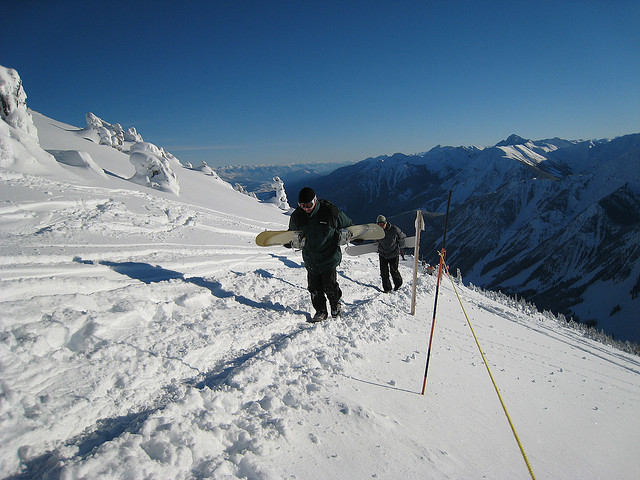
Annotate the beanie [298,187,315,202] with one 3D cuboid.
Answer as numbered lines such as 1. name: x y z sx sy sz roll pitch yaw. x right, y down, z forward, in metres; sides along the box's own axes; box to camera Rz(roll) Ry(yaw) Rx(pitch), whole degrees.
1. beanie: -0.298 -1.025 9.602 0.273 0.283 0.339 7 43 -1

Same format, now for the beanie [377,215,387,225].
1. beanie: 1.849 -0.626 13.287 0.326 0.255 0.407 5 15 1
